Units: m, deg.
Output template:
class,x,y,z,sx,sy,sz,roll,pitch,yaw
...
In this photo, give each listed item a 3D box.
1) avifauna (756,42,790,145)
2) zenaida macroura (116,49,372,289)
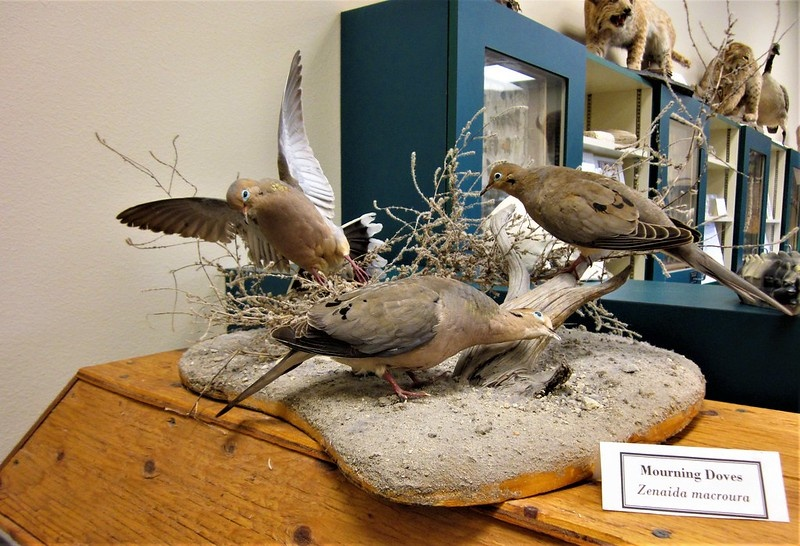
class,x,y,z,sx,sy,sz,roll,pitch,yaw
avifauna,2.782,-1.266,5.101,0.198,0.636,0.919,8,16,28
zenaida macroura,-0.588,-0.365,2.430,0.848,0.578,0.631,-38,5,8
